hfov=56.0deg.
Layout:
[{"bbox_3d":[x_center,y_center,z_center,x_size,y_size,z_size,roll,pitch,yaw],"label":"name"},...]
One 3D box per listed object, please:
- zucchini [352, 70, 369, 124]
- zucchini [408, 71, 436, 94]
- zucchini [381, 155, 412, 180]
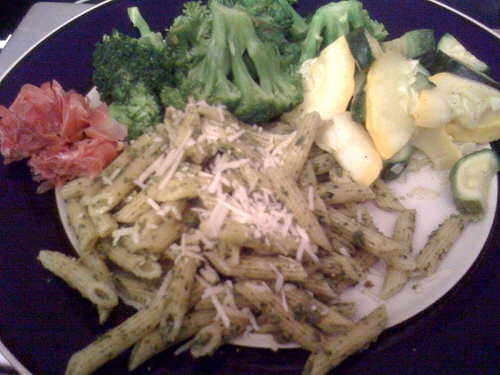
[{"bbox_3d":[1.123,-0.888,4.574,0.115,0.289,0.468,7,92,4],"label":"zucchini"},{"bbox_3d":[1.588,-0.952,4.337,0.199,0.062,0.200,32,76,8],"label":"zucchini"},{"bbox_3d":[1.366,-0.164,4.510,0.291,0.168,0.074,-33,47,12],"label":"zucchini"}]
